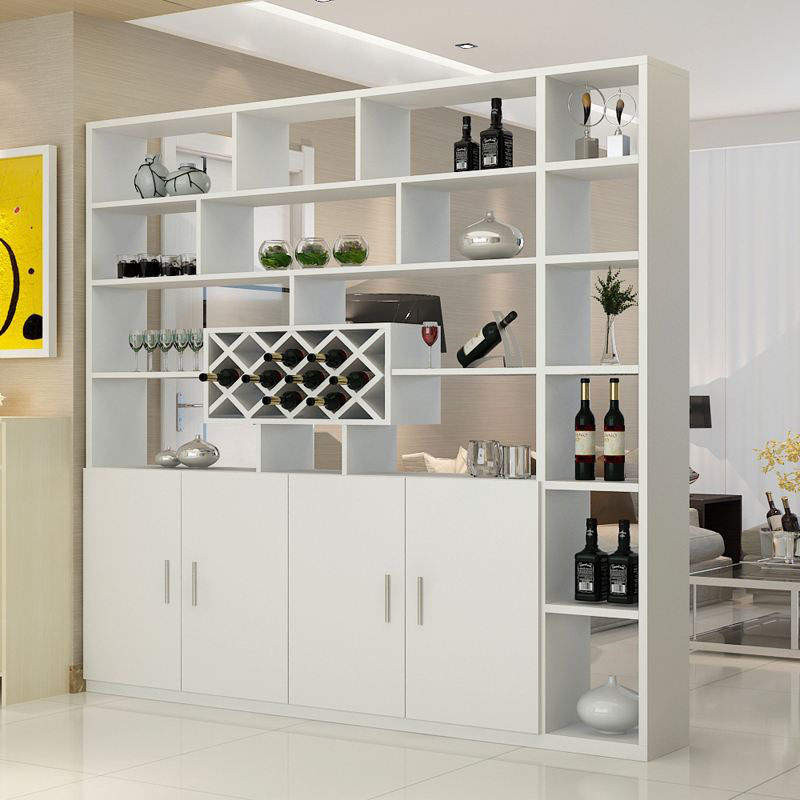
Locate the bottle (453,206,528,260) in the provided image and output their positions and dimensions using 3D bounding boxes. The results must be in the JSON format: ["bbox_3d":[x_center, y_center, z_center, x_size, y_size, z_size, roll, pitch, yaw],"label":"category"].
[{"bbox_3d":[0.336,-0.607,3.602,0.238,0.203,0.227,-1,-5,4],"label":"bottle"}]

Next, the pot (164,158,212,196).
[{"bbox_3d":[-0.934,-0.980,4.292,0.193,0.215,0.178,0,7,0],"label":"pot"}]

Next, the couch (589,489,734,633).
[{"bbox_3d":[1.658,0.894,6.144,1.059,1.011,0.984,-1,-4,9],"label":"couch"}]

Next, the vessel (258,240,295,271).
[{"bbox_3d":[-0.523,-0.600,4.042,0.132,0.107,0.133,-1,0,-34],"label":"vessel"}]

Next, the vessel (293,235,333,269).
[{"bbox_3d":[-0.371,-0.622,4.005,0.120,0.093,0.130,-1,1,-45],"label":"vessel"}]

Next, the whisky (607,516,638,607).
[{"bbox_3d":[0.769,0.563,3.330,0.101,0.286,0.189,-2,-5,12],"label":"whisky"}]

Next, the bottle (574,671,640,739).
[{"bbox_3d":[0.717,1.053,3.328,0.180,0.169,0.180,-3,-5,30],"label":"bottle"}]

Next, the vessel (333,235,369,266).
[{"bbox_3d":[-0.204,-0.610,3.917,0.121,0.096,0.135,0,-2,-29],"label":"vessel"}]

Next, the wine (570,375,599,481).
[{"bbox_3d":[0.635,0.104,3.311,0.062,0.347,0.174,-1,-5,9],"label":"wine"}]

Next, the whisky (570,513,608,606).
[{"bbox_3d":[0.664,0.562,3.351,0.101,0.291,0.149,3,-6,-35],"label":"whisky"}]

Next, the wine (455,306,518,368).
[{"bbox_3d":[0.315,-0.217,3.572,0.189,0.198,0.337,-1,-5,-1],"label":"wine"}]
